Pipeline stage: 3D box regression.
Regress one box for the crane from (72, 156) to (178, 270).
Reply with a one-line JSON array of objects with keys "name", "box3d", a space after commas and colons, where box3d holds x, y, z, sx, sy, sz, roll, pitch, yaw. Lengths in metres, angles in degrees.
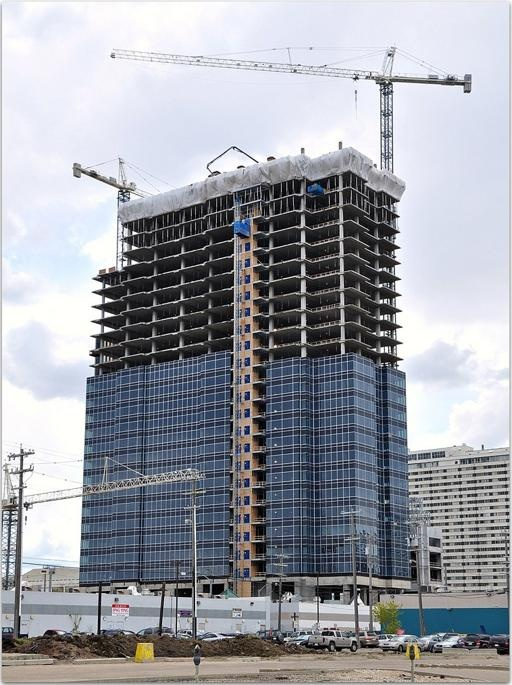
[{"name": "crane", "box3d": [-22.658, -21.936, 209.590, 17.647, 17.299, 2.884, 15, -26, -41]}]
